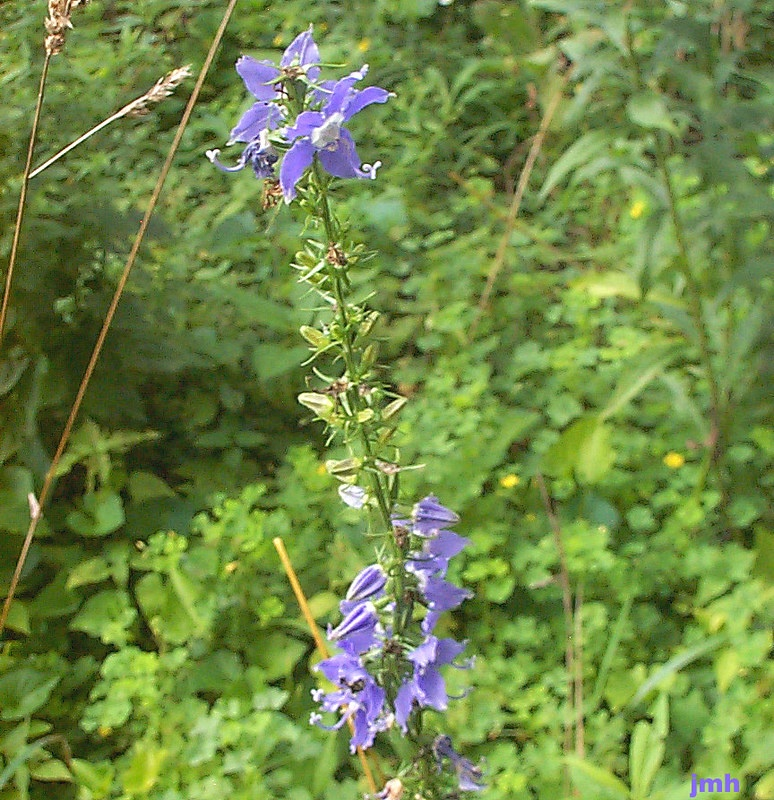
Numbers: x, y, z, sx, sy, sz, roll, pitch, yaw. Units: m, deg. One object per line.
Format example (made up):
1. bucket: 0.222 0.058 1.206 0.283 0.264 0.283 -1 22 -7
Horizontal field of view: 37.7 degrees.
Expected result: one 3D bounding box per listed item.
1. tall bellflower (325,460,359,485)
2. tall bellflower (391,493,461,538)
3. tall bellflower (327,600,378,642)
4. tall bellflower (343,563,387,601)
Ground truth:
1. tall bellflower: -0.082 0.133 2.175 0.058 0.024 0.043 5 99 20
2. tall bellflower: 0.075 0.227 2.143 0.124 0.044 0.063 -7 77 -2
3. tall bellflower: -0.068 0.405 2.104 0.099 0.035 0.049 -41 92 -7
4. tall bellflower: -0.044 0.350 2.143 0.077 0.028 0.052 -37 103 -12
